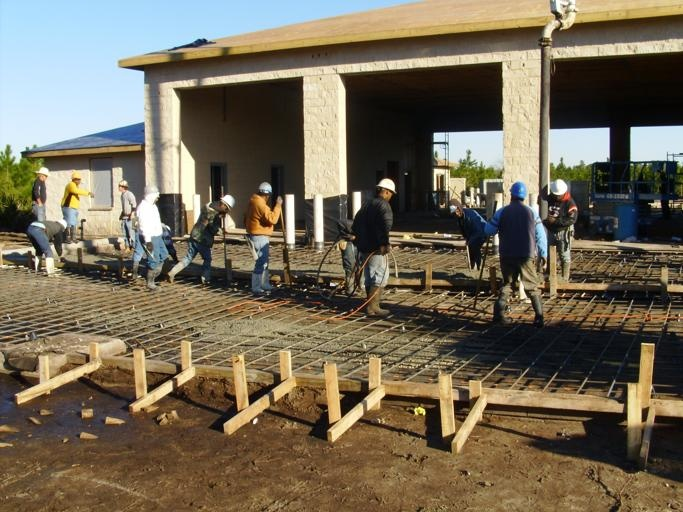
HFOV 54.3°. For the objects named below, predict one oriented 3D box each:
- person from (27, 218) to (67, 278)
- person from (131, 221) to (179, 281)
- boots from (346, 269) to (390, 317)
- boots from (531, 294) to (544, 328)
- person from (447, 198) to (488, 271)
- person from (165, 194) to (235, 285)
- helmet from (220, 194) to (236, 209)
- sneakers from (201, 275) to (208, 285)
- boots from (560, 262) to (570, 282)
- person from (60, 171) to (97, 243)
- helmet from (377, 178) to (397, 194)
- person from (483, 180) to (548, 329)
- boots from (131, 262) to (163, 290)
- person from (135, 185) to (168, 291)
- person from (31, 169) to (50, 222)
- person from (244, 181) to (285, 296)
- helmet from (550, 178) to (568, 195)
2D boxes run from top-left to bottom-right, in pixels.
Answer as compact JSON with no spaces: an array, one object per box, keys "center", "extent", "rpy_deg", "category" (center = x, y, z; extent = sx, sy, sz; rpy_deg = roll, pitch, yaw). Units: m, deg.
[{"center":[-5.329,-0.185,12.142],"extent":[0.606,0.983,0.830],"rpy_deg":[-6,13,-22],"category":"person"},{"center":[-3.125,-0.050,11.065],"extent":[0.624,0.978,0.526],"rpy_deg":[-7,39,-25],"category":"person"},{"center":[0.368,0.462,9.283],"extent":[0.517,0.386,1.457],"rpy_deg":[-1,14,1],"category":"boots"},{"center":[2.352,0.638,8.056],"extent":[0.188,0.403,0.330],"rpy_deg":[2,13,17],"category":"boots"},{"center":[1.987,-0.315,10.593],"extent":[0.576,1.100,1.261],"rpy_deg":[1,13,9],"category":"person"},{"center":[-2.187,-0.266,10.688],"extent":[1.185,1.461,0.573],"rpy_deg":[4,13,25],"category":"person"},{"center":[-1.795,-0.845,10.538],"extent":[0.162,0.284,0.685],"rpy_deg":[-3,14,-6],"category":"helmet"},{"center":[-2.226,0.397,10.832],"extent":[0.101,0.128,0.132],"rpy_deg":[0,-3,-2],"category":"sneakers"},{"center":[3.311,0.246,9.913],"extent":[0.115,0.294,0.467],"rpy_deg":[2,14,18],"category":"boots"},{"center":[-5.645,-1.008,14.170],"extent":[0.527,1.626,1.363],"rpy_deg":[-6,13,-21],"category":"person"},{"center":[0.589,-0.918,8.752],"extent":[0.175,0.203,0.349],"rpy_deg":[10,17,41],"category":"helmet"},{"center":[2.102,-0.037,8.143],"extent":[0.730,1.658,0.596],"rpy_deg":[2,12,17],"category":"person"},{"center":[-3.061,0.327,10.674],"extent":[0.443,0.548,0.466],"rpy_deg":[-10,18,-30],"category":"boots"},{"center":[-3.076,-0.288,10.774],"extent":[0.413,1.617,0.644],"rpy_deg":[4,11,10],"category":"person"},{"center":[-6.200,-1.249,13.768],"extent":[0.322,1.072,0.908],"rpy_deg":[-7,14,-23],"category":"person"},{"center":[-1.191,-0.270,10.177],"extent":[0.531,1.642,0.723],"rpy_deg":[-3,12,-8],"category":"person"},{"center":[3.268,-1.058,10.103],"extent":[0.193,0.160,0.288],"rpy_deg":[2,19,16],"category":"helmet"}]
